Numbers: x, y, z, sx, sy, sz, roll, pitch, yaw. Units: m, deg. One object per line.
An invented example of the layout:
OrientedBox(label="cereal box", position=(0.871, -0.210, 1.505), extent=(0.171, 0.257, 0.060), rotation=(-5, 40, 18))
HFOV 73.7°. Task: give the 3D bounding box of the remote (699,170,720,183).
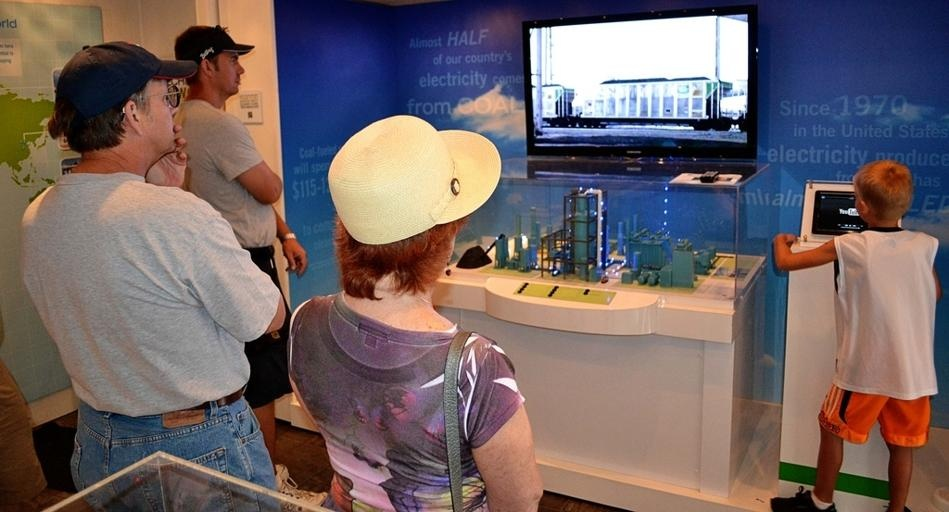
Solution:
OrientedBox(label="remote", position=(1.522, -0.501, 4.083), extent=(0.096, 0.035, 0.158), rotation=(7, 18, 27))

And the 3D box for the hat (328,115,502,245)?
OrientedBox(label="hat", position=(-0.225, -0.344, 2.502), extent=(0.540, 0.302, 0.636), rotation=(24, 54, 31))

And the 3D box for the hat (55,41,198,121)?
OrientedBox(label="hat", position=(-1.520, -0.787, 2.781), extent=(0.509, 0.195, 0.312), rotation=(-18, 38, -22))

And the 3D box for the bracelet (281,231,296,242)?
OrientedBox(label="bracelet", position=(-1.253, -0.132, 4.301), extent=(0.089, 0.052, 0.086), rotation=(0, -8, -30))

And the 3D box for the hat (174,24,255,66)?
OrientedBox(label="hat", position=(-1.670, -1.312, 3.960), extent=(0.553, 0.253, 0.324), rotation=(-9, 24, -17))

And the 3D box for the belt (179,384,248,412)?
OrientedBox(label="belt", position=(-1.183, 0.631, 2.834), extent=(0.174, 0.037, 0.164), rotation=(-2, 0, 0))
